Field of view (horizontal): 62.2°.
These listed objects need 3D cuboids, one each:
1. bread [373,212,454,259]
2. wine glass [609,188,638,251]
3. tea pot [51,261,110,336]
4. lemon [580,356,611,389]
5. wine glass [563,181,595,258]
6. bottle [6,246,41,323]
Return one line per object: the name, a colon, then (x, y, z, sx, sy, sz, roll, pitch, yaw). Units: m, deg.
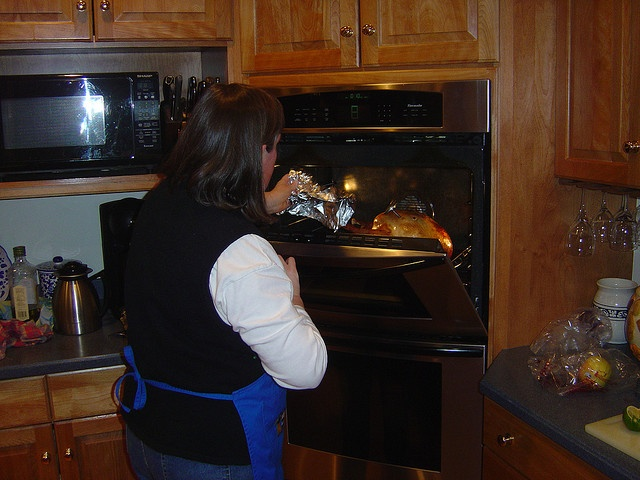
bread: (0.313, -0.048, 1.773, 0.207, 0.079, 0.159, 20, 12, -16)
wine glass: (0.976, -0.060, 1.709, 0.081, 0.188, 0.144, 4, 12, 29)
tea pot: (-0.946, 0.218, 2.075, 0.173, 0.274, 0.132, -8, 12, -30)
lemon: (0.792, 0.382, 1.539, 0.081, 0.103, 0.084, 0, -6, 16)
wine glass: (0.828, -0.062, 1.707, 0.075, 0.202, 0.092, 0, 10, 12)
bottle: (-1.163, 0.166, 2.098, 0.099, 0.276, 0.178, -8, 12, -30)
